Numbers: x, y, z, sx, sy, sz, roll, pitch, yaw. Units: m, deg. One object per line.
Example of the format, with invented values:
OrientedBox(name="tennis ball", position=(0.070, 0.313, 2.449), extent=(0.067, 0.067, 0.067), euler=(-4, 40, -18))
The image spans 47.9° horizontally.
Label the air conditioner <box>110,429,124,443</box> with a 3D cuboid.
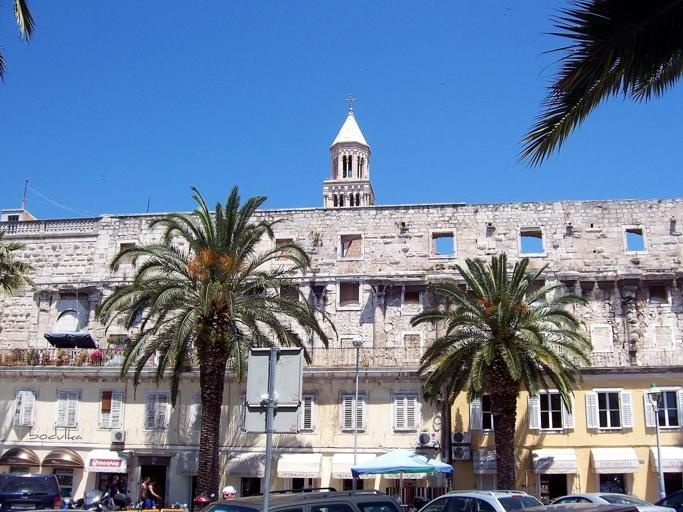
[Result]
OrientedBox(name="air conditioner", position=(-10.847, 8.871, 37.598), extent=(0.540, 0.607, 0.308), euler=(0, -5, 15))
